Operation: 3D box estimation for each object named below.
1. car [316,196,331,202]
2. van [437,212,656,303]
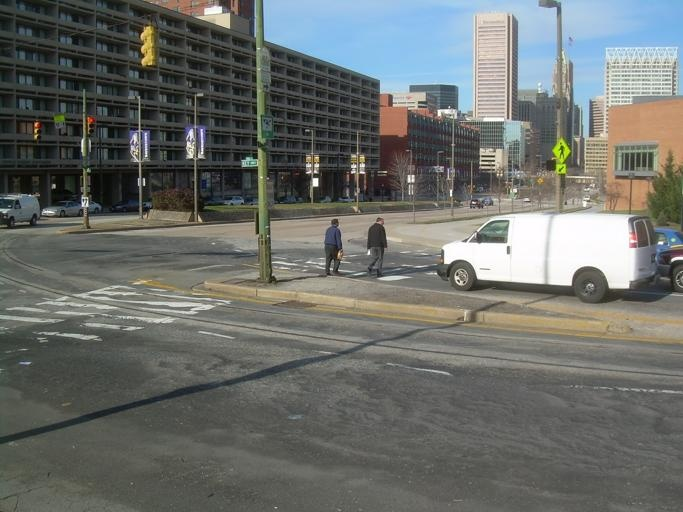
[{"bbox_3d":[-2.765,-8.619,108.001,1.986,0.931,1.159,6,8,19],"label":"car"},{"bbox_3d":[5.338,-0.278,18.611,4.666,1.866,2.424,4,6,33],"label":"van"}]
